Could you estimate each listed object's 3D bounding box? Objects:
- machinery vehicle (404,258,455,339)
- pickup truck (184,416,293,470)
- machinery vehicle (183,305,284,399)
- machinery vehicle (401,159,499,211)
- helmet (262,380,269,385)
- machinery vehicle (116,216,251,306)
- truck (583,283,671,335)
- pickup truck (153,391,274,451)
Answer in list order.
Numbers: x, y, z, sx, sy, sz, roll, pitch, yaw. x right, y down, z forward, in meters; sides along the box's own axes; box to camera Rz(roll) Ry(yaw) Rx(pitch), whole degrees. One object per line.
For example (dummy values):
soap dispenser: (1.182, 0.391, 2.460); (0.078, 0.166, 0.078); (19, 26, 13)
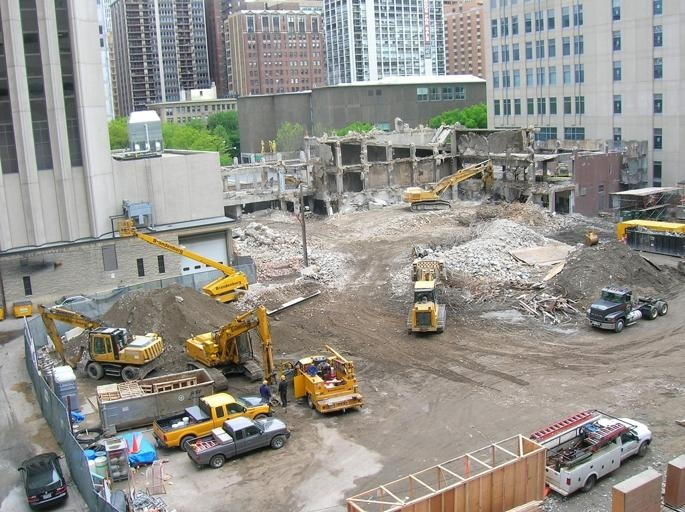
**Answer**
machinery vehicle: (5.698, 2.511, 40.045); (2.711, 2.974, 7.449); (-2, 18, 14)
pickup truck: (-4.615, 8.041, 25.985); (4.332, 1.426, 1.828); (-9, 12, -34)
machinery vehicle: (-5.249, 4.658, 33.243); (6.092, 4.259, 3.216); (19, 25, 35)
machinery vehicle: (12.707, -8.517, 70.863); (10.827, 5.063, 2.483); (-9, 10, -17)
helmet: (-3.996, 6.576, 30.280); (0.394, 0.283, 0.520); (-1, -9, -5)
machinery vehicle: (-11.462, 0.319, 42.878); (8.915, 6.193, 2.548); (-2, 1, -19)
truck: (18.101, 3.044, 37.210); (6.236, 2.277, 2.572); (-11, 16, -30)
pickup truck: (-5.916, 7.554, 27.353); (5.058, 1.775, 2.271); (-17, 18, -29)
